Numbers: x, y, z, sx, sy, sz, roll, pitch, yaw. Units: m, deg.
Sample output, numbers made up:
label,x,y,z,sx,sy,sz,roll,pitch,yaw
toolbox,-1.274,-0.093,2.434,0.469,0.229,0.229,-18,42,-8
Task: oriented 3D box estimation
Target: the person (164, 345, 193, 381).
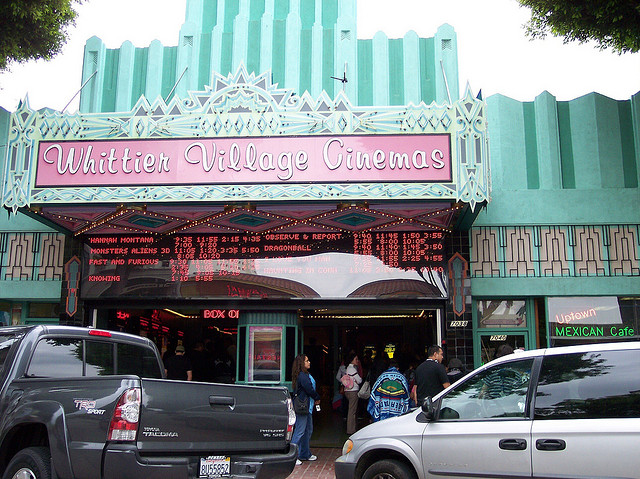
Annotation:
label,x,y,z,sx,sy,sz,roll,pitch,yaw
person,-2.767,2.466,12.383,0.602,0.779,0.431,9,12,14
